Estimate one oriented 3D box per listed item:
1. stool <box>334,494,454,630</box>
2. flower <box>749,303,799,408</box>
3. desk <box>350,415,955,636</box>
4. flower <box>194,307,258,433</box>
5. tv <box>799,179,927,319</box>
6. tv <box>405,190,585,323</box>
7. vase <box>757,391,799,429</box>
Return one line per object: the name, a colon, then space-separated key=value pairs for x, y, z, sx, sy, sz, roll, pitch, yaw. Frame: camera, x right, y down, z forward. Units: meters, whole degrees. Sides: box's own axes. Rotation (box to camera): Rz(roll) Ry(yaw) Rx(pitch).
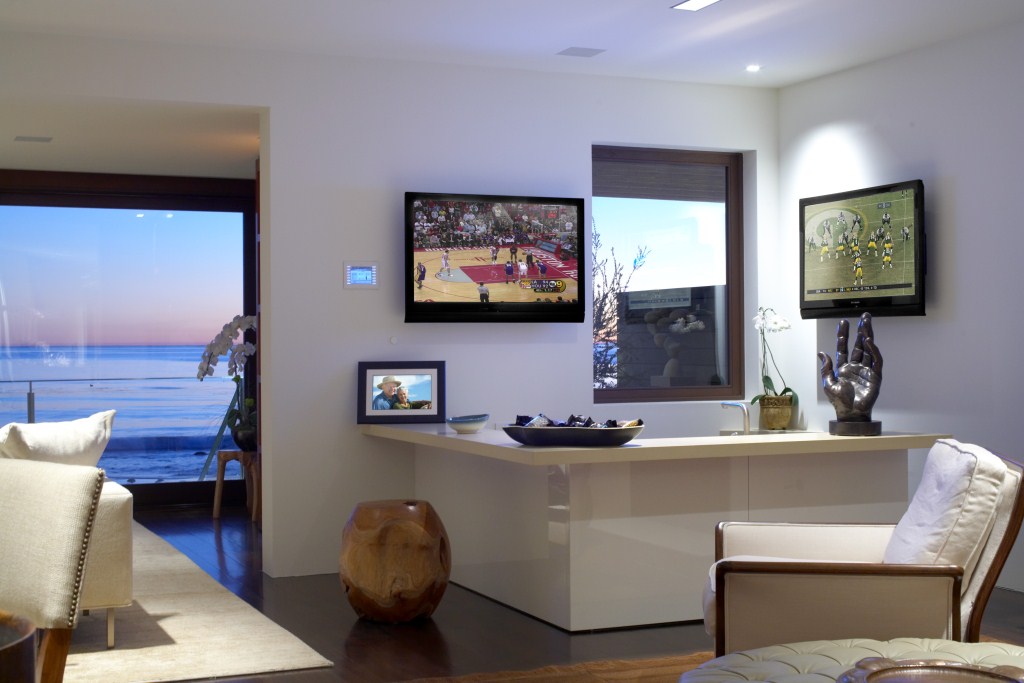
stool: x=-0.697 y=1.295 z=4.334 sx=0.651 sy=0.609 sz=0.637 roll=1 pitch=-2 yaw=-26
flower: x=2.189 y=0.100 z=5.994 sx=0.337 sy=0.806 sz=0.393 roll=-1 pitch=0 yaw=26
desk: x=1.006 y=1.008 z=4.313 sx=1.936 sy=0.661 sz=1.628 roll=1 pitch=-3 yaw=-24
flower: x=-2.735 y=0.295 z=6.900 sx=0.522 sy=1.099 sz=1.257 roll=-1 pitch=-1 yaw=-23
tv: x=2.655 y=-0.683 z=5.376 sx=0.131 sy=1.141 sz=1.204 roll=0 pitch=-2 yaw=-30
tv: x=-0.194 y=-0.646 z=5.453 sx=1.076 sy=0.702 sz=0.048 roll=1 pitch=-1 yaw=-17
vase: x=2.175 y=0.567 z=6.073 sx=0.338 sy=0.378 sz=0.324 roll=4 pitch=-5 yaw=-41
